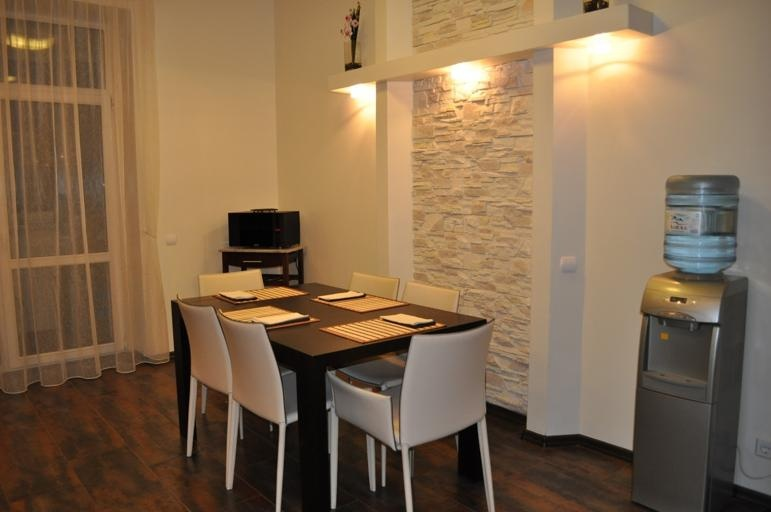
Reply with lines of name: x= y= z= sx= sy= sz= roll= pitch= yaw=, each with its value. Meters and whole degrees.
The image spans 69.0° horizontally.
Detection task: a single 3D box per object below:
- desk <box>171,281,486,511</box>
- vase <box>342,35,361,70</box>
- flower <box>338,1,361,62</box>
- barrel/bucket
desk: x=-0.500 y=0.958 z=4.168 sx=2.210 sy=1.234 sz=1.365 roll=4 pitch=10 yaw=38
vase: x=-0.334 y=-1.952 z=5.456 sx=0.215 sy=0.314 sz=0.211 roll=-11 pitch=16 yaw=-40
flower: x=-0.335 y=-2.154 z=5.471 sx=0.200 sy=0.641 sz=0.430 roll=-2 pitch=8 yaw=-4
barrel/bucket: x=2.081 y=-0.197 z=3.724 sx=0.427 sy=0.636 sz=0.436 roll=-2 pitch=8 yaw=0
